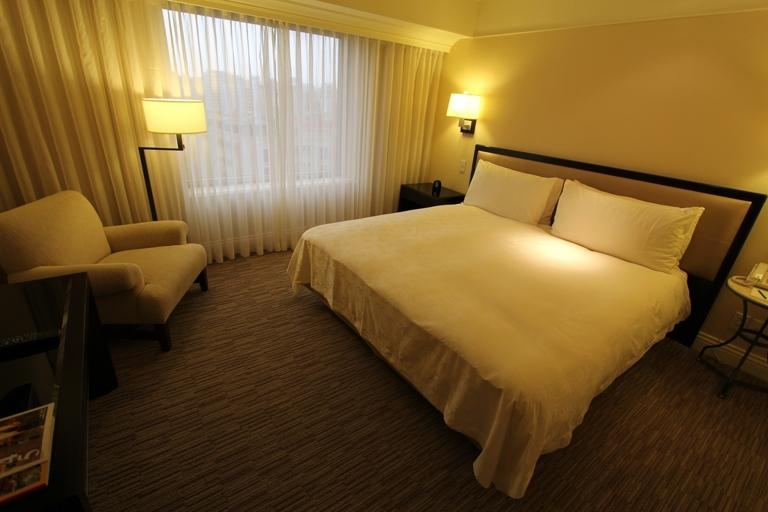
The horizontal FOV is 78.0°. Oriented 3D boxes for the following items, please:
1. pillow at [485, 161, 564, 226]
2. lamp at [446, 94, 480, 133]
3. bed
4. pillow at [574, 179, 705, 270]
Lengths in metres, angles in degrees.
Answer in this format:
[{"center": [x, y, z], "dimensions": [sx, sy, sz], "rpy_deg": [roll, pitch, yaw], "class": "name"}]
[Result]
[{"center": [1.560, -0.666, 5.191], "dimensions": [0.657, 0.279, 0.290], "rpy_deg": [26, 58, 40], "class": "pillow"}, {"center": [0.985, -1.745, 5.880], "dimensions": [0.277, 0.497, 0.326], "rpy_deg": [-19, 35, -42], "class": "lamp"}, {"center": [1.009, 0.221, 4.622], "dimensions": [2.577, 1.788, 2.849], "rpy_deg": [-16, 34, -39], "class": "bed"}, {"center": [2.467, -0.283, 4.498], "dimensions": [0.718, 0.422, 0.234], "rpy_deg": [21, 2, 38], "class": "pillow"}]
